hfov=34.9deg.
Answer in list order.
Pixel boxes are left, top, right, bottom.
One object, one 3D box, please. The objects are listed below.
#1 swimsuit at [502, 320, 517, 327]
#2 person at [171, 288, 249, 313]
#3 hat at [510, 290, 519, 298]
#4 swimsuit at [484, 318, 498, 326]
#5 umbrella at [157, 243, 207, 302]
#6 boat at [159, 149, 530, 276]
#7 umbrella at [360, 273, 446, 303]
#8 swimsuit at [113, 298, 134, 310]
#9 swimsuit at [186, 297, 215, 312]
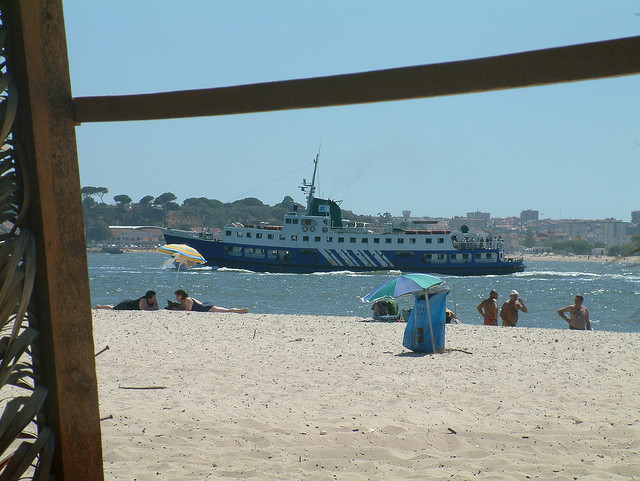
[{"bbox_3d":[3.483,1.555,19.074,0.229,0.078,0.437,1,0,-24],"label":"swimsuit"},{"bbox_3d":[-2.954,1.620,27.580,1.991,0.680,0.579,7,-5,-4],"label":"person"},{"bbox_3d":[3.568,0.973,18.751,0.232,0.097,0.333,1,-1,4],"label":"hat"},{"bbox_3d":[3.195,1.536,19.329,0.125,0.139,0.162,-5,2,-7],"label":"swimsuit"},{"bbox_3d":[-3.249,0.465,23.750,0.709,0.808,0.736,6,-9,29],"label":"umbrella"},{"bbox_3d":[0.757,-0.125,51.013,17.884,5.473,3.248,2,-16,8],"label":"boat"},{"bbox_3d":[1.248,0.710,15.199,0.870,0.348,1.168,1,0,-17],"label":"umbrella"},{"bbox_3d":[-3.987,1.324,20.652,0.224,0.119,0.345,2,4,4],"label":"swimsuit"},{"bbox_3d":[-2.462,1.342,21.198,0.426,0.193,0.397,1,0,-8],"label":"swimsuit"}]
